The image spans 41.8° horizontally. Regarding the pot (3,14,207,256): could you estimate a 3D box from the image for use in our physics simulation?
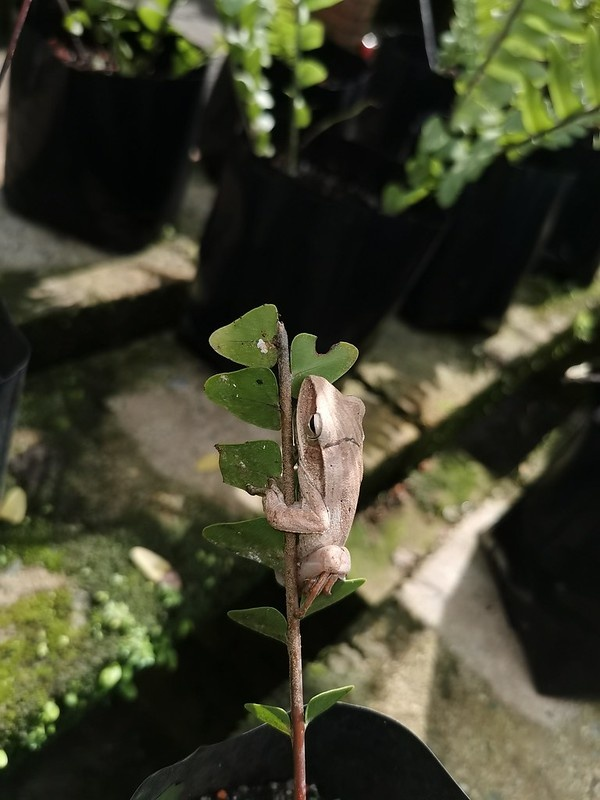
[{"bbox_3d":[-0.201,-0.252,0.776,0.183,0.214,0.191,17,33,-11],"label":"pot"}]

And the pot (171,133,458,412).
[{"bbox_3d":[0.001,-0.162,0.945,0.255,0.263,0.237,21,16,-6],"label":"pot"}]

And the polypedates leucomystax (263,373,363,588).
[{"bbox_3d":[0.015,0.051,0.491,0.046,0.118,0.085,0,9,16],"label":"polypedates leucomystax"}]
